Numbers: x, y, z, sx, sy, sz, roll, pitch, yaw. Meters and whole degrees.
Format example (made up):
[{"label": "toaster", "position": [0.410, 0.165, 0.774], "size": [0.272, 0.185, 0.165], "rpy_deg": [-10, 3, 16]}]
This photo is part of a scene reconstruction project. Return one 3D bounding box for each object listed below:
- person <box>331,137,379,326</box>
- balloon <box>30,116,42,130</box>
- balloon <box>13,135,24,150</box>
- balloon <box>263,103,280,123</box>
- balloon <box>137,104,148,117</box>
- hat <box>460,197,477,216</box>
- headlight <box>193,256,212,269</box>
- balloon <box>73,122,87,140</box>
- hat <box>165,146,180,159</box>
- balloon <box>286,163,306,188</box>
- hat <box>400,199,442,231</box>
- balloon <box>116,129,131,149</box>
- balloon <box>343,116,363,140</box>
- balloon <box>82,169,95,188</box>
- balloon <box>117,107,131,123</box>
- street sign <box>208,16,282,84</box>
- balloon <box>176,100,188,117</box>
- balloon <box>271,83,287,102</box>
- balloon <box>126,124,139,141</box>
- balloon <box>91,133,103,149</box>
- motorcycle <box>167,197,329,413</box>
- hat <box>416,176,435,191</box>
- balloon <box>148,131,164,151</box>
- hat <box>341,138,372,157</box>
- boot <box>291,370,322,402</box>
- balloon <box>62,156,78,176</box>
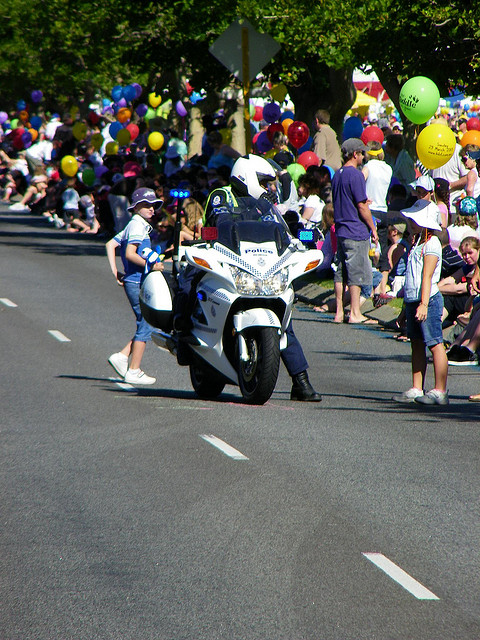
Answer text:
[{"label": "person", "position": [1.587, -1.232, 11.820], "size": [0.643, 2.527, 0.882], "rpy_deg": [1, 5, 5]}, {"label": "balloon", "position": [-8.848, -8.579, 37.399], "size": [0.401, 0.707, 1.957], "rpy_deg": [-1, 5, -16]}, {"label": "balloon", "position": [-8.622, -6.915, 33.365], "size": [0.359, 0.552, 0.473], "rpy_deg": [0, 5, -13]}, {"label": "balloon", "position": [0.847, -5.567, 23.026], "size": [0.441, 0.535, 0.619], "rpy_deg": [1, 5, 1]}, {"label": "balloon", "position": [-3.693, -7.947, 32.461], "size": [0.357, 0.440, 0.263], "rpy_deg": [7, -9, -20]}, {"label": "hat", "position": [2.835, -1.404, 10.649], "size": [0.194, 0.225, 0.213], "rpy_deg": [2, 5, 13]}, {"label": "headlight", "position": [-0.278, -0.434, 6.424], "size": [0.054, 0.046, 0.182], "rpy_deg": [-11, 31, -32]}, {"label": "balloon", "position": [-5.210, -6.109, 27.942], "size": [0.403, 0.501, 0.307], "rpy_deg": [3, -11, -1]}, {"label": "hat", "position": [-1.728, -4.331, 22.256], "size": [0.307, 0.349, 0.512], "rpy_deg": [0, 5, -9]}, {"label": "balloon", "position": [1.117, -2.845, 17.036], "size": [0.486, 0.556, 0.473], "rpy_deg": [-3, 2, -7]}, {"label": "hat", "position": [1.497, -0.867, 7.073], "size": [0.314, 0.260, 0.358], "rpy_deg": [2, 5, 10]}, {"label": "balloon", "position": [-3.406, -5.326, 25.204], "size": [0.370, 0.536, 0.817], "rpy_deg": [0, 5, -6]}, {"label": "balloon", "position": [3.078, -5.247, 23.285], "size": [0.461, 0.734, 1.500], "rpy_deg": [1, 5, 6]}, {"label": "balloon", "position": [-4.140, -3.924, 23.723], "size": [0.400, 0.503, 0.435], "rpy_deg": [0, 10, 3]}, {"label": "balloon", "position": [-4.009, -7.035, 29.506], "size": [0.498, 0.496, 0.587], "rpy_deg": [5, 11, -15]}, {"label": "street sign", "position": [0.068, -3.855, 12.194], "size": [0.990, 0.901, 0.540], "rpy_deg": [1, 5, 2]}, {"label": "balloon", "position": [-2.241, -8.162, 33.138], "size": [0.378, 0.582, 0.581], "rpy_deg": [-27, 9, -6]}, {"label": "balloon", "position": [1.065, -6.216, 23.397], "size": [0.412, 0.441, 0.761], "rpy_deg": [1, 5, 2]}, {"label": "balloon", "position": [-3.341, -5.772, 26.390], "size": [0.457, 0.544, 0.461], "rpy_deg": [5, 11, 37]}, {"label": "balloon", "position": [-4.422, -5.506, 26.491], "size": [0.362, 0.367, 0.423], "rpy_deg": [7, 30, -23]}, {"label": "motorcycle", "position": [-0.062, -0.173, 6.711], "size": [1.111, 1.592, 0.700], "rpy_deg": [4, 6, 33]}, {"label": "hat", "position": [1.785, -1.314, 8.248], "size": [0.127, 0.185, 0.185], "rpy_deg": [-7, 5, 12]}, {"label": "balloon", "position": [-2.300, -4.910, 23.605], "size": [0.422, 0.506, 0.421], "rpy_deg": [4, 16, 7]}, {"label": "hat", "position": [1.586, -2.361, 11.697], "size": [0.372, 0.211, 0.259], "rpy_deg": [-17, 19, 1]}, {"label": "boot", "position": [0.531, 0.569, 7.177], "size": [0.320, 0.307, 0.164], "rpy_deg": [2, 4, 27]}, {"label": "balloon", "position": [-4.732, -4.293, 23.833], "size": [0.423, 0.539, 0.399], "rpy_deg": [1, 5, 2]}]
